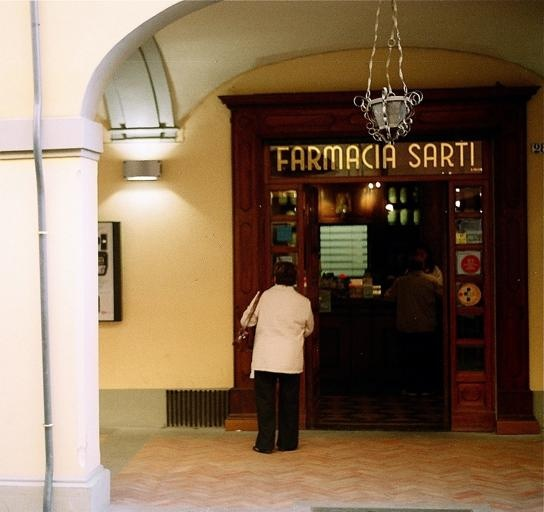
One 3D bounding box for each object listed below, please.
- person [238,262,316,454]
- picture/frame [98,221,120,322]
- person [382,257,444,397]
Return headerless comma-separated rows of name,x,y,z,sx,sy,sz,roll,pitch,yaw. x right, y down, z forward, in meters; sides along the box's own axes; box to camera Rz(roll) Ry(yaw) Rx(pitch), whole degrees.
person,0.055,0.957,6.330,0.678,1.800,0.394,0,2,0
picture/frame,-1.781,0.167,7.370,0.244,1.089,0.113,-1,2,-10
person,1.880,0.883,8.776,0.666,1.805,0.408,0,2,14
